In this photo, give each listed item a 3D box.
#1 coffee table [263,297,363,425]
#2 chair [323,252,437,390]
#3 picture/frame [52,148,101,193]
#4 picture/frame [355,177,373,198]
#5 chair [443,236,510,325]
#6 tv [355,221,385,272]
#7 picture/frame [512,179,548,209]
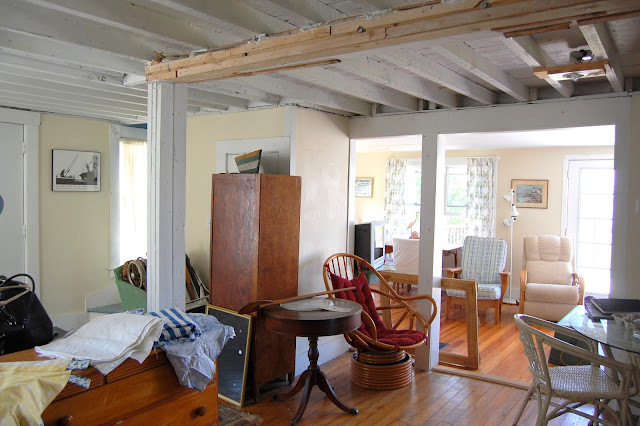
[{"bbox_3d":[-0.083,1.326,4.150,1.029,1.020,1.020,1,2,30],"label":"coffee table"},{"bbox_3d":[0.675,1.158,4.746,1.163,1.273,1.000,1,-3,-30],"label":"chair"},{"bbox_3d":[-3.370,-0.590,5.915,0.044,0.565,0.636,9,9,39],"label":"picture/frame"},{"bbox_3d":[0.975,-0.562,9.382,0.461,0.406,0.067,3,-1,25],"label":"picture/frame"},{"bbox_3d":[2.552,1.033,6.967,0.858,1.242,1.084,2,5,24],"label":"chair"},{"bbox_3d":[0.616,0.423,5.660,0.344,0.610,0.484,4,5,29],"label":"tv"},{"bbox_3d":[3.738,-0.336,7.645,0.533,0.467,0.035,4,5,33],"label":"picture/frame"}]
